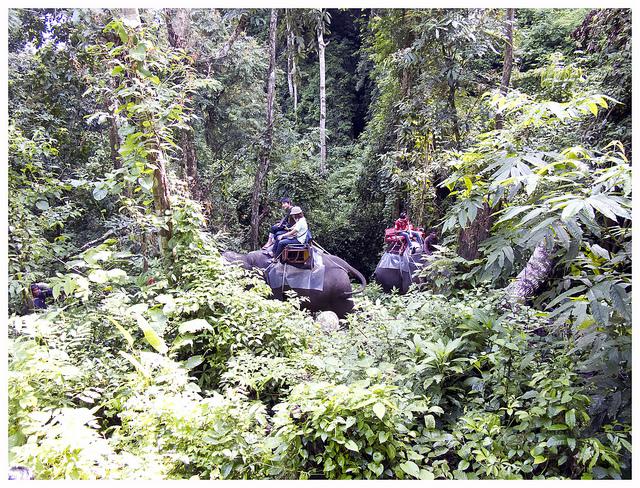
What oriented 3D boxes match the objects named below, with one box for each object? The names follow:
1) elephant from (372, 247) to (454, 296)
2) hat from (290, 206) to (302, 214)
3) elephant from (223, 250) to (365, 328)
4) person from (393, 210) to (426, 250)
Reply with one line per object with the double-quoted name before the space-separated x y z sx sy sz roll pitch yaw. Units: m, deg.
"elephant" 1.712 0.426 9.221 0.581 0.853 1.450 -27 22 -34
"hat" -0.407 -0.560 8.620 0.205 0.094 0.227 -4 1 -4
"elephant" -0.547 0.834 9.010 2.799 1.663 1.016 -1 21 10
"person" 1.627 -0.230 9.364 0.721 0.632 0.404 5 1 30
